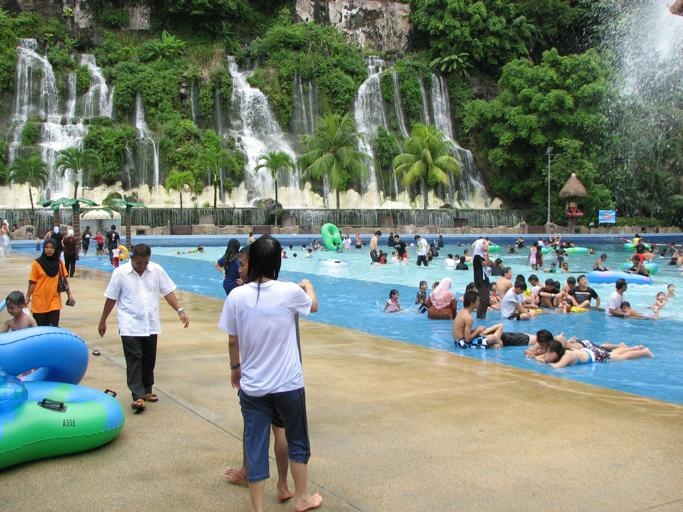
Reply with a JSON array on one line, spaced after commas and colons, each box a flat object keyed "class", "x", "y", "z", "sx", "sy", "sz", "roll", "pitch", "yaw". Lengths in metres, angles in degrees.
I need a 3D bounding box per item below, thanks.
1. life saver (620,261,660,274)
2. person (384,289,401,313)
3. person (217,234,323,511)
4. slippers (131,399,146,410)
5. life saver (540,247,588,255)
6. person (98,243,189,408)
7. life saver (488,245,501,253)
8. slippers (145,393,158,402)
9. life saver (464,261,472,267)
[{"class": "life saver", "x": 11.708, "y": 0.414, "z": 22.630, "sx": 1.209, "sy": 0.402, "sz": 1.273, "roll": -1, "pitch": 2, "yaw": -19}, {"class": "person", "x": 1.276, "y": 1.093, "z": 14.311, "sx": 0.416, "sy": 0.565, "sz": 0.748, "roll": 3, "pitch": 3, "yaw": 5}, {"class": "person", "x": -0.557, "y": 0.953, "z": 4.644, "sx": 0.800, "sy": 2.203, "sz": 0.379, "roll": 2, "pitch": 3, "yaw": -15}, {"class": "slippers", "x": -2.342, "y": 1.694, "z": 6.645, "sx": 0.162, "sy": 0.135, "sz": 0.156, "roll": 1, "pitch": 4, "yaw": -29}, {"class": "life saver", "x": 12.736, "y": -0.307, "z": 32.090, "sx": 1.998, "sy": 0.348, "sz": 1.228, "roll": 0, "pitch": 0, "yaw": -22}, {"class": "person", "x": -2.408, "y": 0.793, "z": 6.915, "sx": 0.657, "sy": 1.894, "sz": 0.706, "roll": 4, "pitch": 4, "yaw": 33}, {"class": "life saver", "x": 8.733, "y": -0.368, "z": 32.523, "sx": 0.677, "sy": 0.227, "sz": 0.701, "roll": -4, "pitch": 6, "yaw": -26}, {"class": "slippers", "x": -2.305, "y": 1.697, "z": 6.951, "sx": 0.072, "sy": 0.056, "sz": 0.141, "roll": -1, "pitch": -3, "yaw": -28}, {"class": "life saver", "x": 5.304, "y": 0.313, "z": 23.992, "sx": 0.275, "sy": 0.258, "sz": 0.204, "roll": 44, "pitch": 20, "yaw": 31}]
